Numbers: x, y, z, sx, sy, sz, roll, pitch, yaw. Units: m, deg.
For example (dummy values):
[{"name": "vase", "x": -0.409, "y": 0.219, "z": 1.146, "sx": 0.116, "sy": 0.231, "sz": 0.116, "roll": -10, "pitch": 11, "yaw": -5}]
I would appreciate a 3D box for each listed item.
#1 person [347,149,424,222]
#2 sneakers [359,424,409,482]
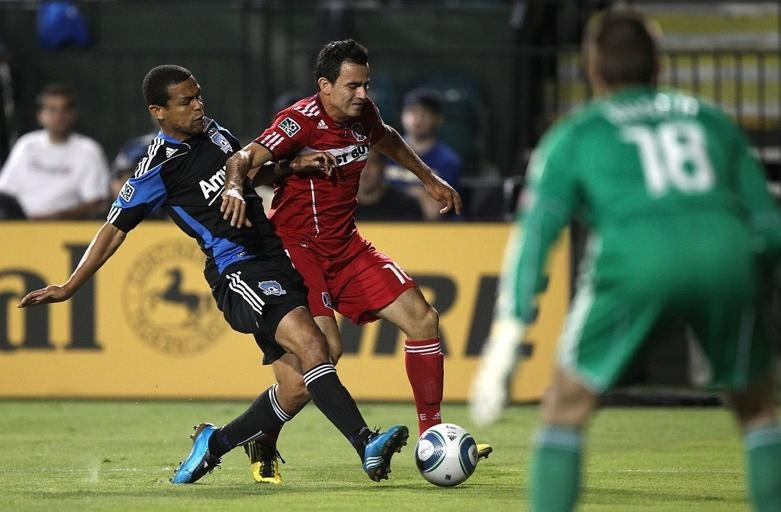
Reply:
[{"name": "person", "x": -0.049, "y": -0.600, "z": 11.619, "sx": 0.858, "sy": 0.523, "sz": 0.368, "roll": -7, "pitch": 3, "yaw": -16}, {"name": "sneakers", "x": -0.050, "y": 1.320, "z": 9.003, "sx": 0.233, "sy": 0.404, "sz": 0.159, "roll": 31, "pitch": 0, "yaw": 44}]
